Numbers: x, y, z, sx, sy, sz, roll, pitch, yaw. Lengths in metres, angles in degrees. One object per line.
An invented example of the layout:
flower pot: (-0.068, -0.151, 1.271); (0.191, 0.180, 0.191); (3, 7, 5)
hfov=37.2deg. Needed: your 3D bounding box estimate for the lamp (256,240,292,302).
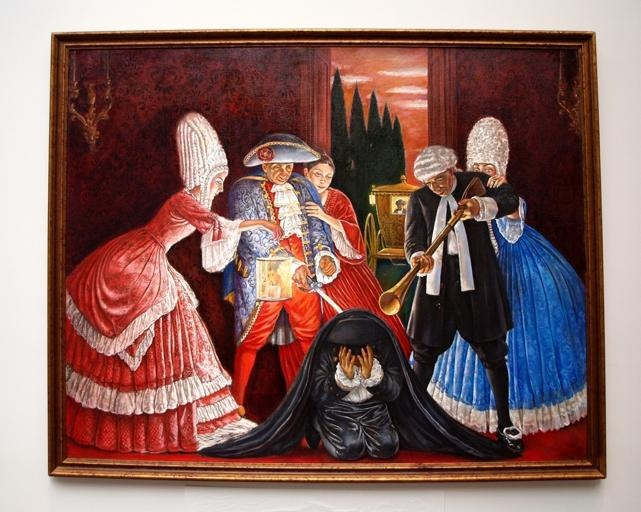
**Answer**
lamp: (-0.360, 0.110, 7.474); (0.353, 0.602, 0.345); (0, -4, -3)
